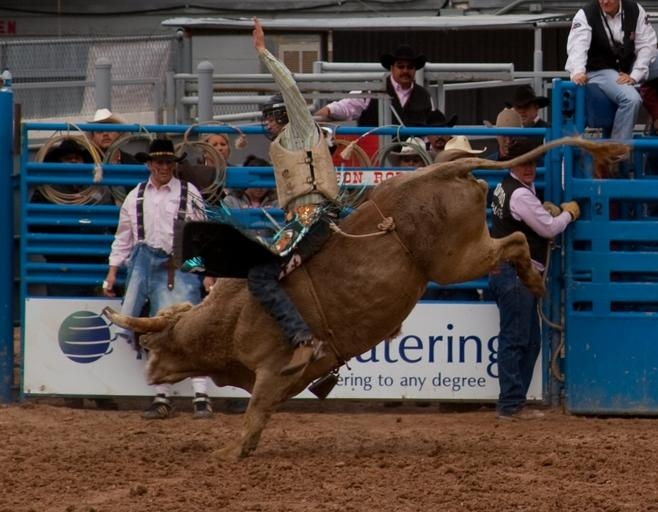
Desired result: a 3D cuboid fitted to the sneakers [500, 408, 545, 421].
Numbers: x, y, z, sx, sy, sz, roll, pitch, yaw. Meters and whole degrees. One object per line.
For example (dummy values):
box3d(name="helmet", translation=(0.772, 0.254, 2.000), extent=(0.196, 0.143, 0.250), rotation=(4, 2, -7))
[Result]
box3d(name="sneakers", translation=(1.845, 1.509, 14.780), extent=(0.411, 0.164, 0.142), rotation=(-6, -1, 5))

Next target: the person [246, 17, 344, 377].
box3d(name="person", translation=(-0.287, -0.383, 13.376), extent=(0.560, 2.728, 0.631), rotation=(2, 3, 33))

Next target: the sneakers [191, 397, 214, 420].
box3d(name="sneakers", translation=(-1.193, 1.449, 14.969), extent=(0.222, 0.228, 0.143), rotation=(-4, -3, 21))

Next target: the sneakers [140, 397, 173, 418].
box3d(name="sneakers", translation=(-1.655, 1.456, 14.919), extent=(0.270, 0.189, 0.153), rotation=(0, -3, 6))

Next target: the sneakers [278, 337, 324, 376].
box3d(name="sneakers", translation=(-0.197, 0.815, 13.275), extent=(0.412, 0.198, 0.134), rotation=(-31, 0, 18))
